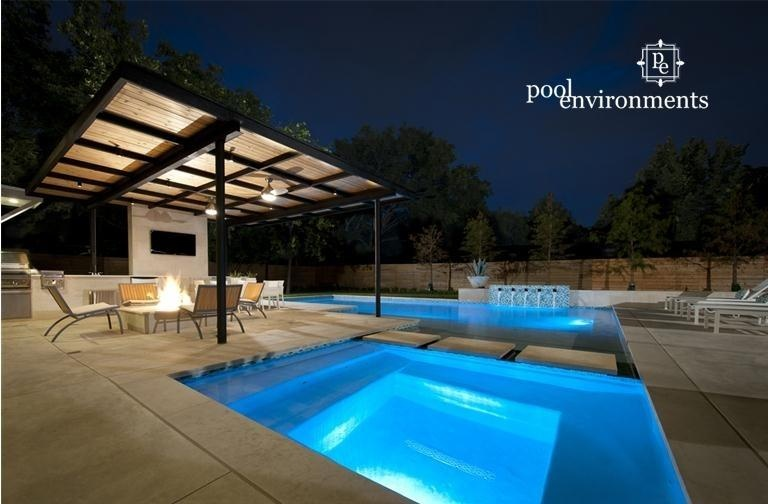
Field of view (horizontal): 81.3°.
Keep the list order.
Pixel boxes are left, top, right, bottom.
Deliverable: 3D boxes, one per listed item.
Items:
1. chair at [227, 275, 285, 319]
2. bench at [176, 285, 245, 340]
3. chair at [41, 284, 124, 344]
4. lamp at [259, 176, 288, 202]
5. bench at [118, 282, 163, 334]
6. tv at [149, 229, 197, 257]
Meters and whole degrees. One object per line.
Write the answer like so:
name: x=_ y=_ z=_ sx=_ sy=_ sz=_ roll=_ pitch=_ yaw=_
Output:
chair: x=-3.664 y=1.329 z=13.324 sx=1.012 sy=1.019 sz=1.782 roll=-4 pitch=-9 yaw=32
bench: x=-4.155 y=1.367 z=10.630 sx=1.276 sy=0.951 sz=1.087 roll=-4 pitch=-3 yaw=39
chair: x=-6.853 y=1.374 z=10.190 sx=0.858 sy=0.935 sz=1.422 roll=0 pitch=-1 yaw=42
lamp: x=-2.930 y=-1.630 z=11.782 sx=0.687 sy=0.605 sz=0.731 roll=8 pitch=15 yaw=38
bench: x=-6.149 y=1.348 z=11.492 sx=1.154 sy=0.925 sz=1.907 roll=4 pitch=-6 yaw=-43
tv: x=-7.339 y=-0.273 z=15.405 sx=0.122 sy=0.578 sz=1.164 roll=-5 pitch=-7 yaw=42
